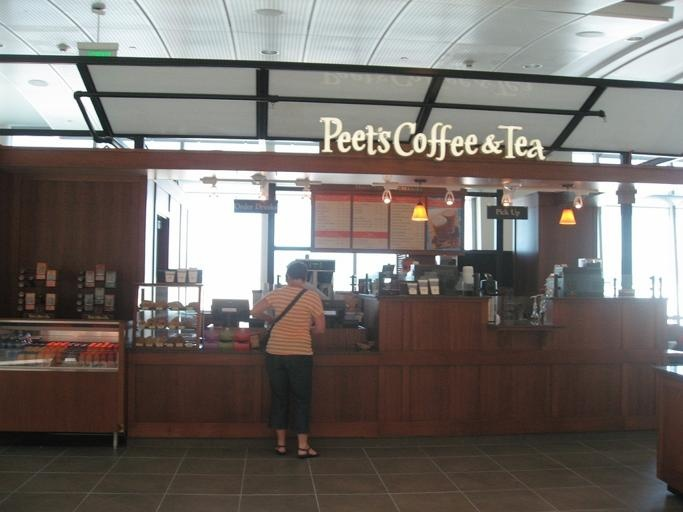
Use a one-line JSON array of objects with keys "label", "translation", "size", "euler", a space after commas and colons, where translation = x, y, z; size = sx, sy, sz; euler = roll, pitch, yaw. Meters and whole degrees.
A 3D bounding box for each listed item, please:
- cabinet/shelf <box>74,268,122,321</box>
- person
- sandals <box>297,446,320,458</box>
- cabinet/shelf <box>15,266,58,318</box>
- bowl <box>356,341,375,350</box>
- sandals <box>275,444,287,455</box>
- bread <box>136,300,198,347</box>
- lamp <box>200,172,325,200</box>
[{"label": "cabinet/shelf", "translation": [-3.258, 0.442, 8.605], "size": [0.453, 0.659, 0.571], "euler": [-3, -6, 31]}, {"label": "person", "translation": [-0.604, 1.162, 7.696], "size": [0.784, 2.219, 0.451], "euler": [0, -2, -8]}, {"label": "sandals", "translation": [-0.377, 2.221, 7.528], "size": [0.255, 0.100, 0.101], "euler": [-1, 2, -25]}, {"label": "cabinet/shelf", "translation": [-3.934, 0.443, 8.538], "size": [0.507, 0.677, 0.235], "euler": [0, -2, -14]}, {"label": "bowl", "translation": [0.333, 1.115, 8.322], "size": [0.218, 0.102, 0.337], "euler": [-1, -2, 18]}, {"label": "sandals", "translation": [-0.690, 2.201, 7.591], "size": [0.131, 0.112, 0.178], "euler": [0, -2, -6]}, {"label": "bread", "translation": [-2.111, 0.852, 8.094], "size": [0.959, 0.645, 0.506], "euler": [1, -9, -11]}, {"label": "lamp", "translation": [-1.198, -1.105, 10.426], "size": [2.090, 0.414, 0.492], "euler": [1, 2, -3]}]
